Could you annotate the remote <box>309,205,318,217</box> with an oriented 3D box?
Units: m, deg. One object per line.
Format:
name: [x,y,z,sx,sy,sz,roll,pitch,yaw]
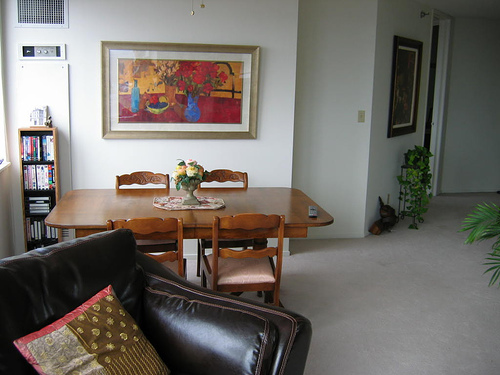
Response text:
remote: [0.496,0.192,2.951,0.056,0.028,0.116,0,25,6]

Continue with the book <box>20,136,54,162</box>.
book: [-2.112,-0.382,3.708,0.238,0.239,0.082,-1,0,-10]

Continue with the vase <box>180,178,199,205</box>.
vase: [-0.501,0.038,3.141,0.172,0.204,0.166,-4,8,-41]

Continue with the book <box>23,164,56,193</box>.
book: [-2.123,-0.097,3.821,0.283,0.295,0.144,-2,1,-17]

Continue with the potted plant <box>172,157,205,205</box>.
potted plant: [-0.502,-0.037,3.128,0.255,0.379,0.289,-6,2,-17]

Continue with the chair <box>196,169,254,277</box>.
chair: [-0.246,0.381,3.706,0.494,0.947,0.625,0,23,-10]

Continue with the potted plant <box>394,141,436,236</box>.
potted plant: [2.549,-0.073,5.737,0.481,1.191,1.765,4,11,33]

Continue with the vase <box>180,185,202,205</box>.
vase: [-0.499,0.052,3.183,0.150,0.192,0.158,-1,16,-2]

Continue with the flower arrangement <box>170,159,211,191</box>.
flower arrangement: [-0.522,-0.097,3.097,0.229,0.148,0.236,-10,6,-19]
